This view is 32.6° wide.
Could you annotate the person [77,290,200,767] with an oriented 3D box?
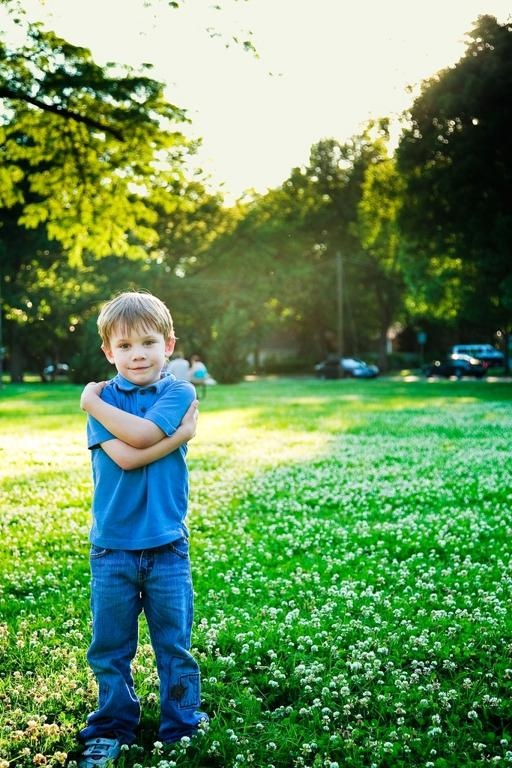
[{"bbox_3d":[-0.539,0.584,3.890,0.596,1.988,0.727,-4,7,1],"label":"person"}]
